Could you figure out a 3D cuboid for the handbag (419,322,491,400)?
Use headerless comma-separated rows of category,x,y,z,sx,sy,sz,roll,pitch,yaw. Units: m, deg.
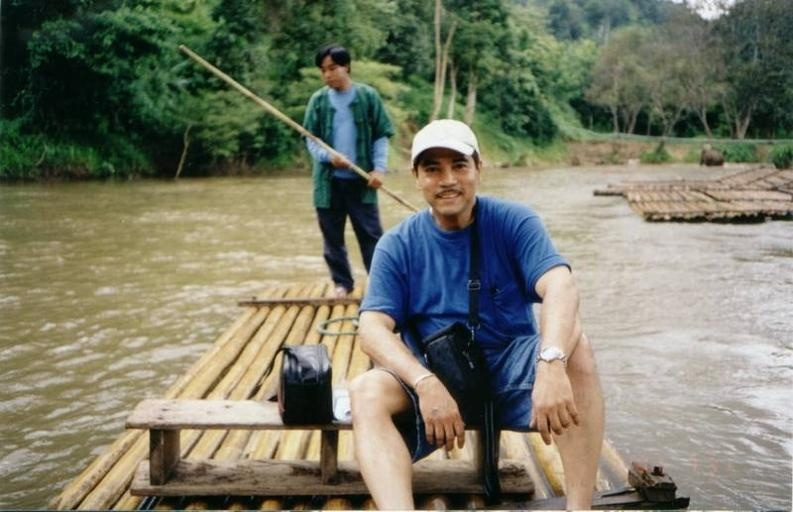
handbag,0.364,0.648,4.164,0.285,0.361,0.221,-36,3,26

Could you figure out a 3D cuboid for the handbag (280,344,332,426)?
handbag,-0.521,0.779,4.433,0.390,0.434,0.623,0,-1,-1

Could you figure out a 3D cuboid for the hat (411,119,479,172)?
hat,0.309,-0.718,4.350,0.268,0.189,0.352,-10,-10,7

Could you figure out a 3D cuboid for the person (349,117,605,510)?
person,0.452,0.336,4.140,1.474,2.262,0.639,0,9,-5
